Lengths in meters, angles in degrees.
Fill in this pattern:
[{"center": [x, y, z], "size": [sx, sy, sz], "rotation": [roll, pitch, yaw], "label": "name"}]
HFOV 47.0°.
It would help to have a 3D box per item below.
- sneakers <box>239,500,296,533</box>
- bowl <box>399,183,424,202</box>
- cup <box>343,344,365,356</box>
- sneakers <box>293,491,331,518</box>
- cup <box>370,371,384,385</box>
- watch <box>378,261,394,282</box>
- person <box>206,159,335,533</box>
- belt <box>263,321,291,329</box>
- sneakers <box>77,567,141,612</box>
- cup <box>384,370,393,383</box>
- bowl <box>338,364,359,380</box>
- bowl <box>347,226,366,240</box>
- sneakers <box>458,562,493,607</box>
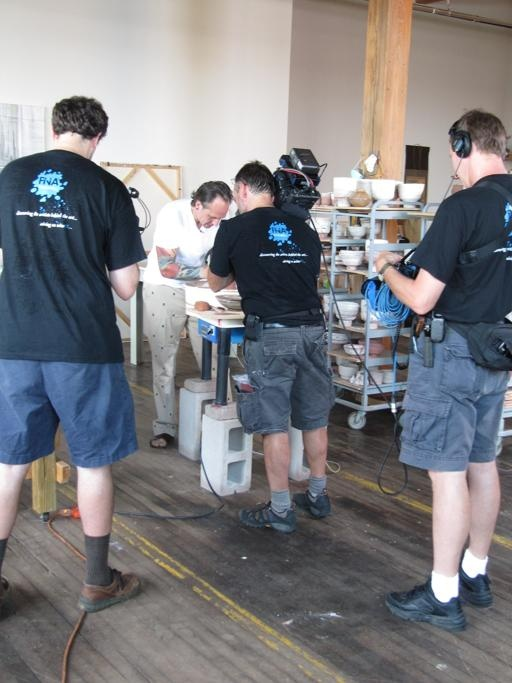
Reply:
[{"center": [0.054, 0.791, 2.689], "size": [0.282, 0.125, 0.104], "rotation": [8, 8, 13], "label": "sneakers"}, {"center": [1.050, -0.995, 3.964], "size": [0.142, 0.110, 0.149], "rotation": [0, 10, 0], "label": "bowl"}, {"center": [0.659, 0.057, 3.923], "size": [0.087, 0.083, 0.174], "rotation": [0, 7, -21], "label": "cup"}, {"center": [0.259, 0.757, 2.851], "size": [0.079, 0.099, 0.210], "rotation": [-8, 20, -37], "label": "sneakers"}, {"center": [0.799, 0.239, 3.901], "size": [0.091, 0.079, 0.088], "rotation": [1, 1, 0], "label": "cup"}, {"center": [0.424, -0.232, 1.965], "size": [0.040, 0.061, 0.064], "rotation": [34, 22, 14], "label": "watch"}, {"center": [0.087, 0.030, 2.597], "size": [0.613, 1.616, 0.318], "rotation": [2, 7, -5], "label": "person"}, {"center": [0.080, -0.065, 2.464], "size": [0.100, 0.027, 0.023], "rotation": [4, 7, 15], "label": "belt"}, {"center": [-0.483, 0.833, 2.010], "size": [0.083, 0.095, 0.222], "rotation": [7, 11, 33], "label": "sneakers"}, {"center": [0.879, 0.228, 3.922], "size": [0.064, 0.074, 0.082], "rotation": [0, 2, -4], "label": "cup"}, {"center": [0.637, 0.204, 4.059], "size": [0.121, 0.077, 0.111], "rotation": [0, 8, 0], "label": "bowl"}, {"center": [0.691, -0.736, 4.007], "size": [0.097, 0.067, 0.092], "rotation": [-1, 7, 0], "label": "bowl"}, {"center": [0.770, 0.866, 2.107], "size": [0.062, 0.069, 0.162], "rotation": [-4, 15, -6], "label": "sneakers"}]
